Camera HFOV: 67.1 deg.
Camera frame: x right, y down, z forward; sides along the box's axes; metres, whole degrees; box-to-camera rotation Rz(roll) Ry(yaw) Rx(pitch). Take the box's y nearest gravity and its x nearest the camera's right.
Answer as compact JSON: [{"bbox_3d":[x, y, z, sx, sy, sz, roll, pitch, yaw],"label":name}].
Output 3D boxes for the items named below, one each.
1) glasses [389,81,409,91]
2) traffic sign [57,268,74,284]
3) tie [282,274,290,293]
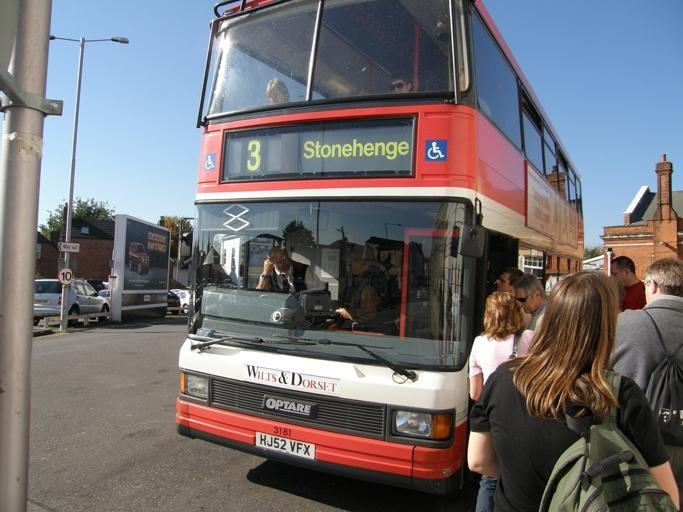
[{"bbox_3d":[0.580,-1.651,5.031,0.155,0.074,0.171,4,13,-2],"label":"glasses"},{"bbox_3d":[-9.700,0.712,18.128,0.406,0.565,0.997,3,-2,-31],"label":"traffic sign"},{"bbox_3d":[-0.550,0.274,5.165,0.031,0.141,0.129,-8,-8,16],"label":"tie"}]
